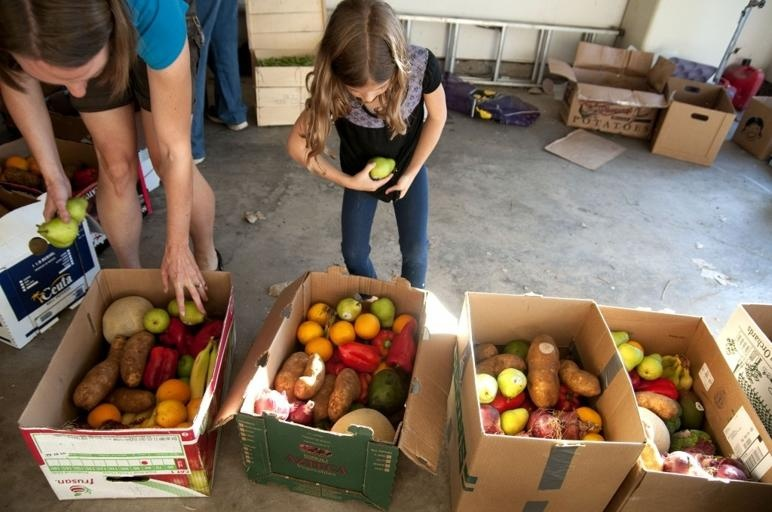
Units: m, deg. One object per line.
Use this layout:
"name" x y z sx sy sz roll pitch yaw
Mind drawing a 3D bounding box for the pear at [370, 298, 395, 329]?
"pear" -0.019 0.296 2.459 0.094 0.099 0.117 -18 72 -45

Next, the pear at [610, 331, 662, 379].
"pear" 1.188 0.476 2.324 0.092 0.201 0.120 -36 17 11

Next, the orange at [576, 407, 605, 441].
"orange" 0.886 0.731 2.161 0.100 0.098 0.129 0 19 -42

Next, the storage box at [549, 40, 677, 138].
"storage box" 2.208 -1.457 5.050 1.061 0.660 1.099 15 56 13

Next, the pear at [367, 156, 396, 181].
"pear" -0.020 -0.420 2.380 0.092 0.074 0.127 14 54 32

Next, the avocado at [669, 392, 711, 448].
"avocado" 1.400 0.754 2.269 0.124 0.139 0.260 -4 76 10

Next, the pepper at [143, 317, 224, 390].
"pepper" -0.975 0.409 2.349 0.221 0.146 0.404 32 47 -21

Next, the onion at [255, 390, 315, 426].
"onion" -0.436 0.652 2.109 0.217 0.100 0.134 33 2 -38

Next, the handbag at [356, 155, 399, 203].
"handbag" -0.033 -0.377 2.405 0.082 0.201 0.125 15 54 21

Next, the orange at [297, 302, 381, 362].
"orange" -0.239 0.372 2.410 0.312 0.129 0.314 2 40 11

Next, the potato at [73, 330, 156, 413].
"potato" -1.231 0.538 2.273 0.191 0.132 0.388 26 51 3

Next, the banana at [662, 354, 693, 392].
"banana" 1.414 0.555 2.387 0.101 0.076 0.177 -23 49 11

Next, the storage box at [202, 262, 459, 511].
"storage box" -0.166 0.683 2.423 1.270 0.661 0.991 14 56 8

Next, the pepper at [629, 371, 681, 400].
"pepper" 1.303 0.628 2.378 0.205 0.106 0.097 11 12 22

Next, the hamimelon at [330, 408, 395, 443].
"hamimelon" -0.088 0.712 2.067 0.200 0.159 0.151 2 4 -9

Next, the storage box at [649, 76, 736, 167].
"storage box" 2.803 -1.237 4.475 0.623 0.585 0.674 23 36 25

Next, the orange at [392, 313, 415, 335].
"orange" 0.079 0.332 2.423 0.092 0.095 0.114 11 42 26

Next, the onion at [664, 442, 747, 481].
"onion" 1.328 0.873 2.048 0.266 0.115 0.151 13 13 9

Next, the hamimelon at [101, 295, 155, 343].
"hamimelon" -1.260 0.277 2.365 0.203 0.219 0.124 12 4 -14

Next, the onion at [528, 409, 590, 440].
"onion" 0.754 0.742 2.129 0.183 0.086 0.121 -7 41 9

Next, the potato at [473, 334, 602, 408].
"potato" 0.663 0.558 2.257 0.481 0.142 0.344 -7 58 -3

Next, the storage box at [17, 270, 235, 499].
"storage box" -1.083 0.577 2.255 0.692 0.723 0.760 3 32 -5
